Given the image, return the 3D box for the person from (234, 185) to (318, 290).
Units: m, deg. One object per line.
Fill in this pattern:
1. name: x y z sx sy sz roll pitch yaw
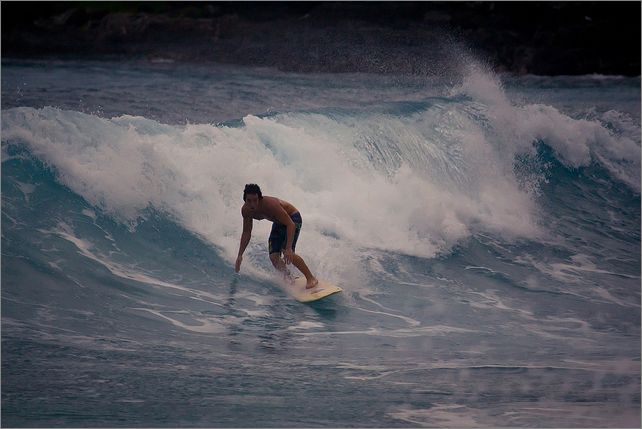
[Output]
1. person: -0.722 0.309 12.077 1.353 1.732 0.779 7 30 0
